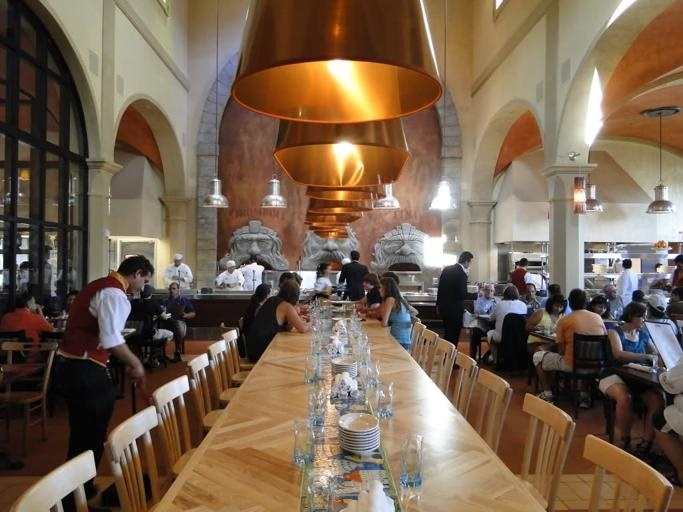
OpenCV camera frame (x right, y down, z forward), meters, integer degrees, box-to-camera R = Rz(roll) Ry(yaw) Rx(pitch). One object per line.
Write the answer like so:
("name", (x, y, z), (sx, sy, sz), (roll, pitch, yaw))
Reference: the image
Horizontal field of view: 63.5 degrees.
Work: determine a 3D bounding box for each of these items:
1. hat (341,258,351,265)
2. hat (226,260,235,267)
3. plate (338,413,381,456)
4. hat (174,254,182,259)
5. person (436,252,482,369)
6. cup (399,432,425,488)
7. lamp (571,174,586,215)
("hat", (0.091, 0.126, 13.207), (0.185, 0.112, 0.192), (-4, -2, 33))
("hat", (-2.463, 0.145, 12.370), (0.184, 0.118, 0.281), (2, -7, -20))
("plate", (0.112, 1.132, 3.497), (0.195, 0.137, 0.232), (0, -8, -3))
("hat", (-3.615, 0.021, 12.299), (0.165, 0.157, 0.146), (-5, 8, -37))
("person", (1.758, 0.771, 8.421), (0.490, 1.694, 0.586), (-5, 18, -21))
("cup", (0.383, 1.146, 3.069), (0.112, 0.288, 0.086), (0, -12, 15))
("lamp", (3.859, -0.977, 8.949), (0.191, 0.670, 0.340), (-2, -12, 23))
